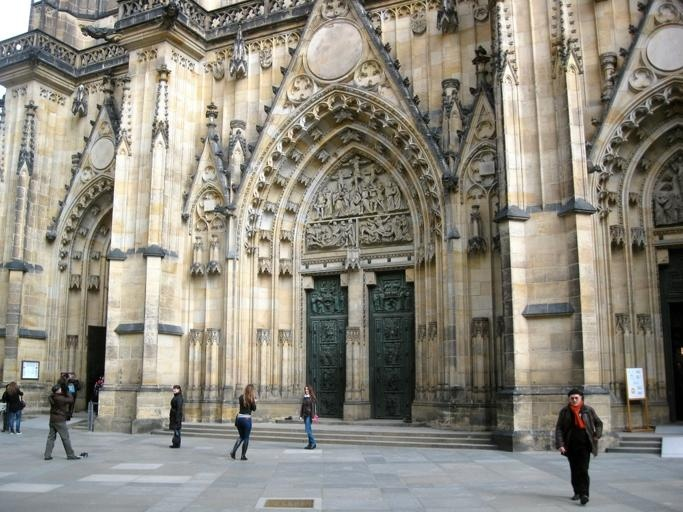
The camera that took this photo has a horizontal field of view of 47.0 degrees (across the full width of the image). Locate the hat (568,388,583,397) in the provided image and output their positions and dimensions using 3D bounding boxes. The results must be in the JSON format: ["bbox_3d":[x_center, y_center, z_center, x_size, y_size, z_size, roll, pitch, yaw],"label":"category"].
[{"bbox_3d":[4.952,2.873,16.639,0.275,0.174,0.327,-2,-17,12],"label":"hat"}]

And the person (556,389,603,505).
[{"bbox_3d":[4.936,3.882,16.176,0.907,2.280,0.657,0,-13,-9],"label":"person"}]
